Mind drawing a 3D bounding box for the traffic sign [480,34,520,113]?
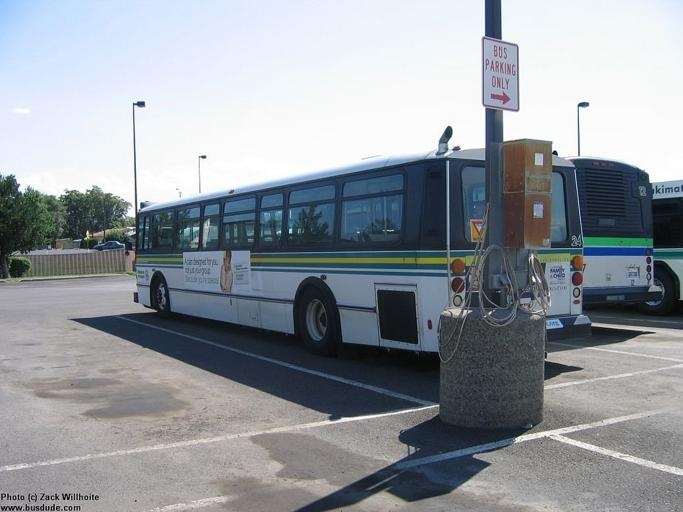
[{"bbox_3d":[1.967,-2.264,6.362,0.654,0.912,0.207,1,-2,-35],"label":"traffic sign"}]
